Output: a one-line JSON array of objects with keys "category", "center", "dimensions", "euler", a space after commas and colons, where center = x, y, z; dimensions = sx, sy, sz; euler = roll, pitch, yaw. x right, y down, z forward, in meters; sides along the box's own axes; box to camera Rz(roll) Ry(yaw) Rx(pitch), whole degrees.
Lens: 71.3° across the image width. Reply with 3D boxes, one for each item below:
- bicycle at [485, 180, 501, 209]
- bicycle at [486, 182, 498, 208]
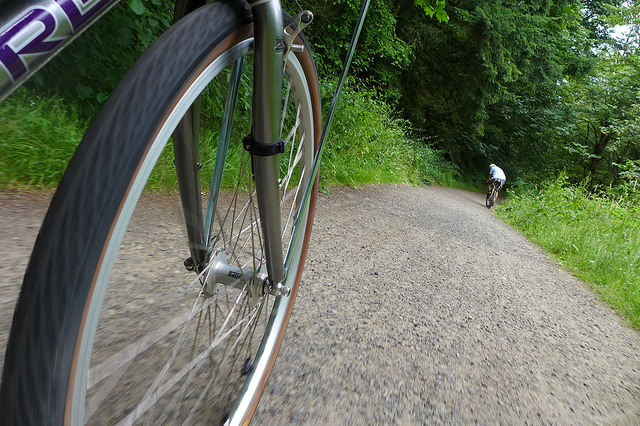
[{"category": "bicycle", "center": [5.406, -0.595, 14.102], "dimensions": [0.446, 0.621, 1.008], "euler": [8, 43, 8]}, {"category": "bicycle", "center": [5.343, -0.573, 14.168], "dimensions": [0.346, 0.477, 0.764], "euler": [15, 27, 13]}]
